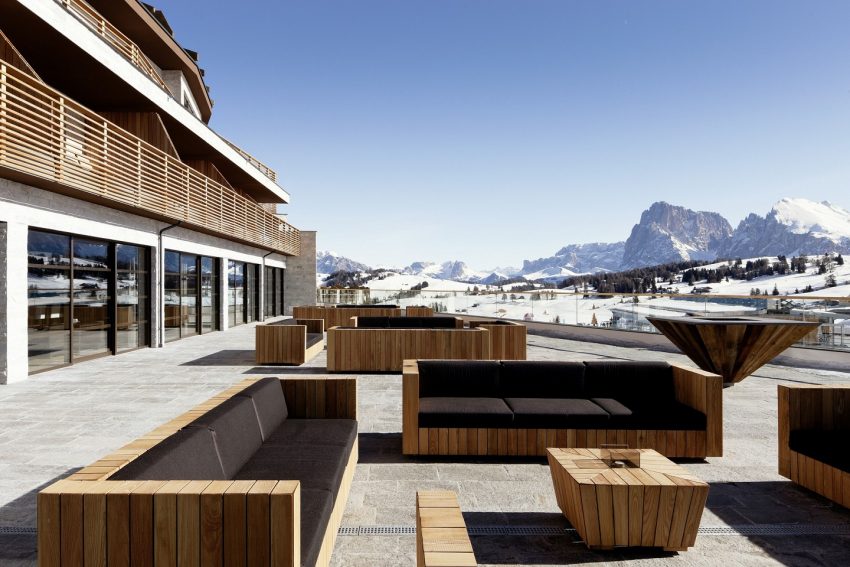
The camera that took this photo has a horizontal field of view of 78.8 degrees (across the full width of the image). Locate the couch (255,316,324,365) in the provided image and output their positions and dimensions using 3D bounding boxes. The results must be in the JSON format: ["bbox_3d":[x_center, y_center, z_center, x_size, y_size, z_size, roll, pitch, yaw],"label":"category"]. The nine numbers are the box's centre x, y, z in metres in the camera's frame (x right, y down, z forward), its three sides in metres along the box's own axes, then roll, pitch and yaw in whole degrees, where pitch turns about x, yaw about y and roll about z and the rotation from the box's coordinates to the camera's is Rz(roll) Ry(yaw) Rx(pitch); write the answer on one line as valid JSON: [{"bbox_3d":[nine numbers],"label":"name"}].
[{"bbox_3d":[-3.134,1.308,11.830,1.007,0.783,1.758,0,-1,1],"label":"couch"}]

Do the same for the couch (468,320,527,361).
[{"bbox_3d":[1.759,1.226,11.779,0.853,0.892,1.460,1,-4,0],"label":"couch"}]

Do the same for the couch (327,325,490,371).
[{"bbox_3d":[-0.404,1.331,10.765,3.146,0.867,0.415,-1,15,-8],"label":"couch"}]

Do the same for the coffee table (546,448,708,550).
[{"bbox_3d":[2.071,2.149,5.117,1.106,0.533,1.285,0,-7,-2],"label":"coffee table"}]
